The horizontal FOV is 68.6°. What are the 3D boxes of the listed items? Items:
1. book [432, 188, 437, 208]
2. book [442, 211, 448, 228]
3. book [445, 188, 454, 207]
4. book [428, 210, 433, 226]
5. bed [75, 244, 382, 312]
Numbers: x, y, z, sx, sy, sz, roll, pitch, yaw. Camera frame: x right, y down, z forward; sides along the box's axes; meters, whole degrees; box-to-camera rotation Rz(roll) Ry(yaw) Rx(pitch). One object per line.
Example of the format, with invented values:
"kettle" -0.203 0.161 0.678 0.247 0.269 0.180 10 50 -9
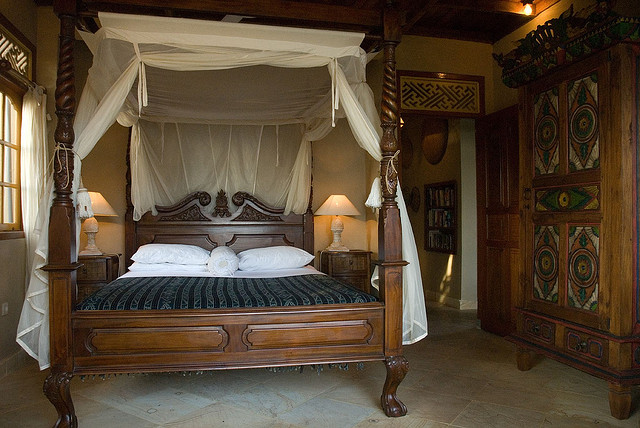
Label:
"book" 1.979 -0.267 8.039 0.053 0.243 0.235 1 2 8
"book" 2.071 0.083 7.708 0.139 0.266 0.261 0 0 1
"book" 2.108 -0.267 7.545 0.105 0.337 0.302 1 -1 0
"book" 1.946 0.061 8.185 0.085 0.255 0.268 1 -3 11
"bed" -0.944 0.578 5.110 2.510 0.303 2.246 -1 6 -6
